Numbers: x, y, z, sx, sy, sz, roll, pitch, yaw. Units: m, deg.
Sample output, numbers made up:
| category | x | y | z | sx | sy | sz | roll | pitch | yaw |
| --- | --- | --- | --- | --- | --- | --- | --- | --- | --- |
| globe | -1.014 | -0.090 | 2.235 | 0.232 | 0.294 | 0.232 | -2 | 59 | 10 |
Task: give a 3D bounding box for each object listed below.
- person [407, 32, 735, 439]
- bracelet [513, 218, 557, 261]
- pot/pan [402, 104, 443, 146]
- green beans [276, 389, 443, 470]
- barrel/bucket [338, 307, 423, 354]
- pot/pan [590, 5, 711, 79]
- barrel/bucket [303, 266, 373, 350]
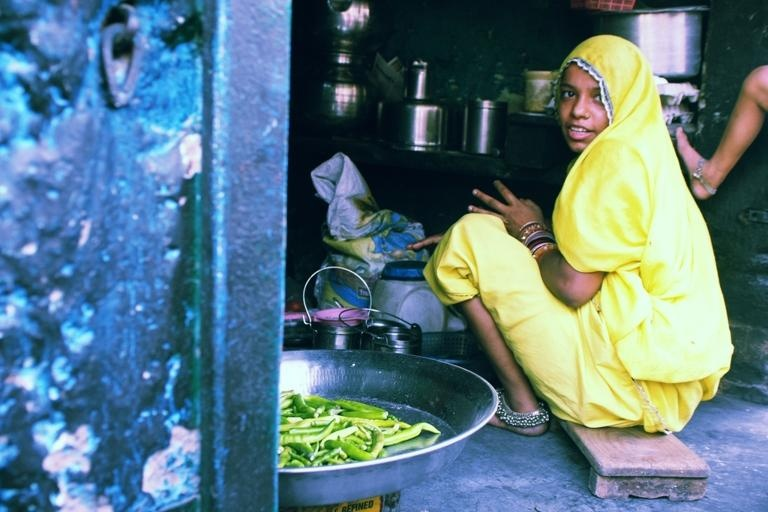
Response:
| category | x | y | z | sx | sy | sz | roll | pitch | yaw |
| --- | --- | --- | --- | --- | --- | --- | --- | --- | --- |
| person | 0.818 | -0.073 | 3.027 | 1.294 | 1.536 | 1.101 | 6 | 5 | 33 |
| bracelet | 0.663 | -0.053 | 2.953 | 0.155 | 0.148 | 0.140 | -32 | 49 | -11 |
| pot/pan | 0.222 | -0.744 | 4.054 | 0.252 | 0.244 | 0.250 | 2 | 7 | 1 |
| green beans | -0.115 | 0.533 | 2.135 | 0.370 | 0.059 | 0.215 | 6 | 12 | 5 |
| barrel/bucket | 0.009 | 0.360 | 3.312 | 0.311 | 0.243 | 0.214 | 3 | 8 | 22 |
| pot/pan | 1.291 | -0.990 | 3.305 | 0.406 | 0.221 | 0.387 | 0 | 9 | 8 |
| barrel/bucket | -0.235 | 0.276 | 3.687 | 0.394 | 0.439 | 0.307 | 0 | 17 | -1 |
